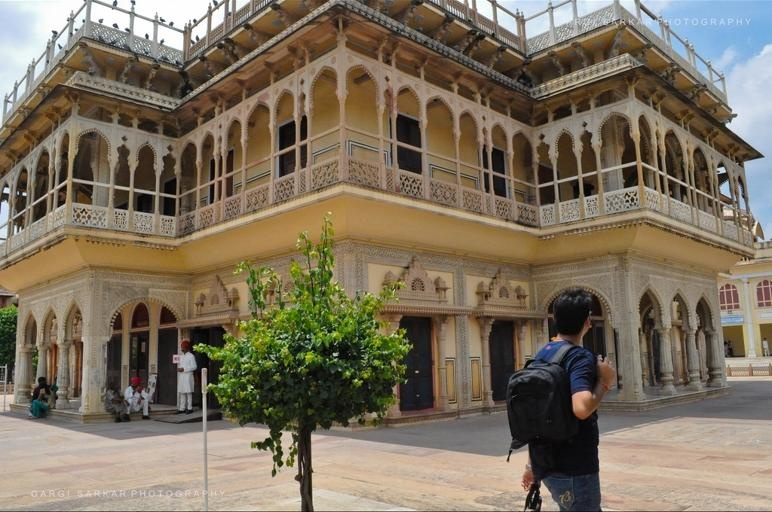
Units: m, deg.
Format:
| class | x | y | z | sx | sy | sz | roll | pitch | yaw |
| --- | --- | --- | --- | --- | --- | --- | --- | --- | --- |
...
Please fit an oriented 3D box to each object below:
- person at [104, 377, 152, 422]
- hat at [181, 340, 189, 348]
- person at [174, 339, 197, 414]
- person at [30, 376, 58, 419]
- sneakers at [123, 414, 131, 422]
| class | x | y | z | sx | sy | sz | roll | pitch | yaw |
| --- | --- | --- | --- | --- | --- | --- | --- | --- | --- |
| person | -8.314 | 4.666 | 21.903 | 0.840 | 1.371 | 1.292 | -12 | -19 | 35 |
| hat | -6.659 | 2.948 | 22.609 | 0.222 | 0.264 | 0.269 | 6 | -4 | -30 |
| person | -6.588 | 3.935 | 22.426 | 0.574 | 2.456 | 0.972 | 4 | -16 | -15 |
| person | -11.829 | 4.922 | 23.516 | 0.782 | 1.451 | 1.212 | 4 | -16 | -17 |
| sneakers | -8.161 | 5.143 | 21.469 | 0.170 | 0.217 | 0.313 | -4 | -16 | 11 |
